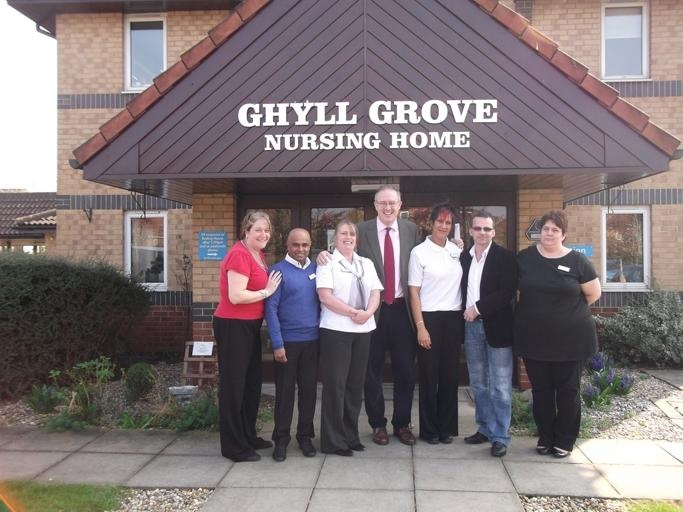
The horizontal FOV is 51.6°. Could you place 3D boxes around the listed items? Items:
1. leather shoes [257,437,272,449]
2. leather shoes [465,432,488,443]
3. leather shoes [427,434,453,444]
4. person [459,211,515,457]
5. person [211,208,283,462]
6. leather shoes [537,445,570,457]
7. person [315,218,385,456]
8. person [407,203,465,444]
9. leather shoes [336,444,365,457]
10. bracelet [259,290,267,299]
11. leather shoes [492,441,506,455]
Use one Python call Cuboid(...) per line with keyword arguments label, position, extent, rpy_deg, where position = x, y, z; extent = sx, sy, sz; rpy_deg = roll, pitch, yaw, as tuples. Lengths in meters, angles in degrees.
Cuboid(label="leather shoes", position=(-1.028, 2.484, 9.415), extent=(0.193, 0.079, 0.116), rpy_deg=(1, 16, -7))
Cuboid(label="leather shoes", position=(1.808, 2.440, 9.570), extent=(0.338, 0.143, 0.128), rpy_deg=(3, -1, -10))
Cuboid(label="leather shoes", position=(1.317, 2.467, 9.506), extent=(0.333, 0.096, 0.125), rpy_deg=(-2, -1, 1))
Cuboid(label="person", position=(1.906, 1.010, 9.328), extent=(0.951, 3.104, 0.748), rpy_deg=(11, 18, 39))
Cuboid(label="person", position=(-1.259, 1.031, 9.126), extent=(0.733, 3.053, 0.982), rpy_deg=(7, 16, 29))
Cuboid(label="leather shoes", position=(2.732, 2.535, 9.190), extent=(0.362, 0.107, 0.150), rpy_deg=(3, 18, 20))
Cuboid(label="person", position=(0.045, 1.066, 9.183), extent=(0.664, 2.911, 0.930), rpy_deg=(12, 19, 42))
Cuboid(label="person", position=(1.268, 0.917, 9.446), extent=(0.734, 3.157, 0.728), rpy_deg=(-2, 14, -8))
Cuboid(label="leather shoes", position=(0.119, 2.530, 9.216), extent=(0.414, 0.189, 0.139), rpy_deg=(11, -9, -20))
Cuboid(label="bracelet", position=(-1.009, 0.480, 9.026), extent=(0.110, 0.075, 0.117), rpy_deg=(16, 39, -28))
Cuboid(label="leather shoes", position=(2.048, 2.500, 9.189), extent=(0.214, 0.156, 0.155), rpy_deg=(0, 15, 0))
